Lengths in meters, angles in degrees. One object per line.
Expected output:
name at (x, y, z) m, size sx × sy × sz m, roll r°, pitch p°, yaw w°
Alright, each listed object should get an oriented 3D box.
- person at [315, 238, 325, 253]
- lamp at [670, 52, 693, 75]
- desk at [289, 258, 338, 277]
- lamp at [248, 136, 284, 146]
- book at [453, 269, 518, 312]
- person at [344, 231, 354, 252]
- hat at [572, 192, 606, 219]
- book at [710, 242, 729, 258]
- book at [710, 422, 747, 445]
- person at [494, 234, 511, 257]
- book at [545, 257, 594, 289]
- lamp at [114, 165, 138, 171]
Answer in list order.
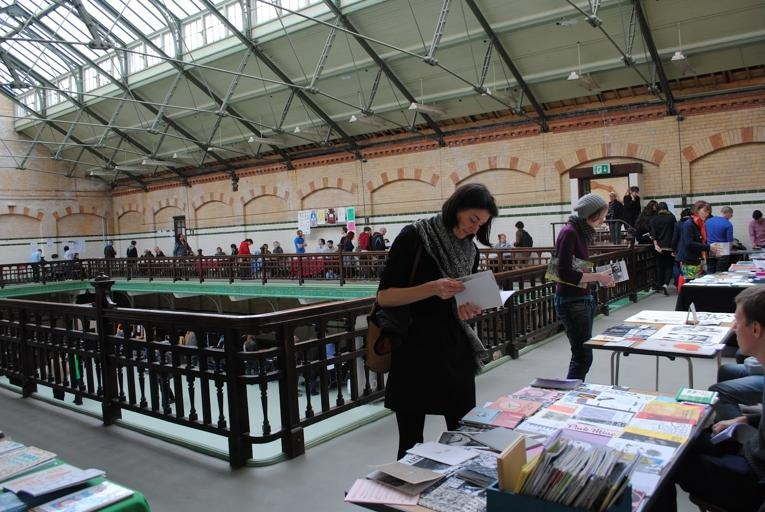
person at (-2.356, -0.400, 19.586) m, size 0.367 × 0.471 × 1.118 m, roll -5°, pitch 7°, yaw -7°
lamp at (7.055, -4.535, 12.168) m, size 0.440 × 0.248 × 0.682 m, roll 9°, pitch -19°, yaw 43°
desk at (-2.038, 0.304, 15.002) m, size 1.041 × 0.703 × 1.555 m, roll -7°, pitch 7°, yaw -26°
lamp at (-4.186, -4.140, 18.656) m, size 0.886 × 0.185 × 0.904 m, roll 1°, pitch 1°, yaw 40°
book at (0.655, 0.230, 3.405) m, size 0.349 × 0.262 × 0.129 m, roll -7°, pitch 8°, yaw -23°
person at (-1.118, -0.463, 16.955) m, size 0.309 × 0.603 × 0.936 m, roll -5°, pitch 7°, yaw -5°
hat at (2.015, -0.478, 4.987) m, size 0.317 × 0.214 × 0.217 m, roll 4°, pitch 27°, yaw 5°
book at (5.656, -0.102, 8.665) m, size 0.361 × 0.290 × 0.083 m, roll 5°, pitch -5°, yaw -30°
book at (2.411, 1.248, 3.631) m, size 0.191 × 0.066 × 0.131 m, roll -28°, pitch -21°, yaw 10°
person at (3.172, -0.254, 13.584) m, size 0.451 × 0.377 × 1.212 m, roll 20°, pitch 10°, yaw 12°
book at (1.850, 0.150, 5.098) m, size 0.425 × 0.274 × 0.166 m, roll -1°, pitch -8°, yaw -44°
lamp at (-11.840, -4.057, 23.844) m, size 0.877 × 0.275 × 1.962 m, roll -6°, pitch 7°, yaw -25°
